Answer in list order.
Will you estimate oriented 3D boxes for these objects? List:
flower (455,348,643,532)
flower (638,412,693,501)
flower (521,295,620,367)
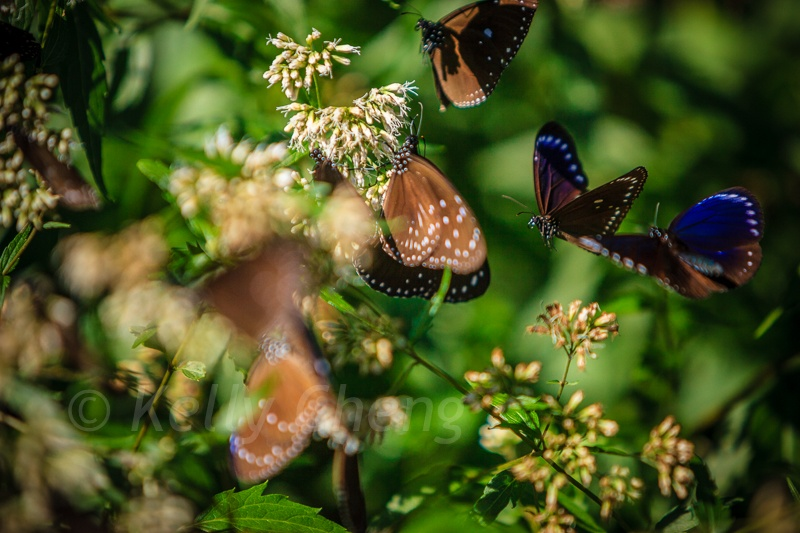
[{"bbox_3d":[0.269,0.342,1.852,0.412,0.152,0.269,43,81,-3],"label":"flower"},{"bbox_3d":[0.534,0.385,1.762,0.052,0.129,0.157,4,85,-36],"label":"flower"},{"bbox_3d":[0.347,0.126,1.790,0.161,0.122,0.103,29,53,15],"label":"flower"}]
